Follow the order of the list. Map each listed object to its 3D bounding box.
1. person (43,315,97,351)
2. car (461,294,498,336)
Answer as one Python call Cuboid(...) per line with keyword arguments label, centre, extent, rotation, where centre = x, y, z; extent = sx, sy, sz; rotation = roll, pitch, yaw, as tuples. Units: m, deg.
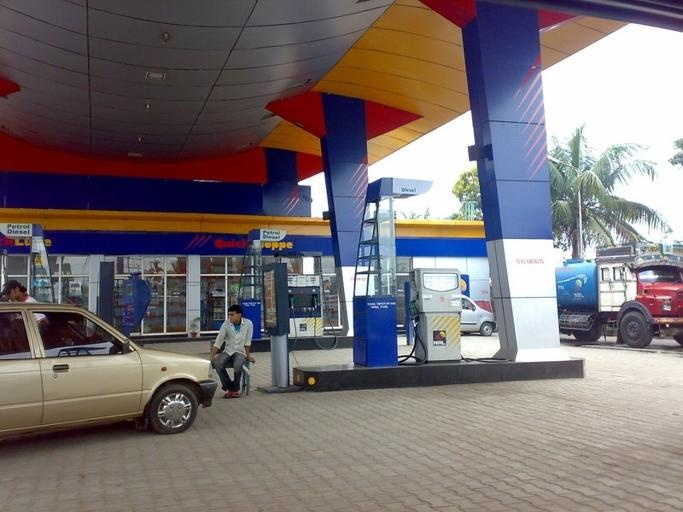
Cuboid(label="person", centre=(-4.009, 1.001, 7.574), extent=(0.852, 0.471, 0.489), rotation=(0, 33, -33))
Cuboid(label="car", centre=(6.478, 2.869, 24.716), extent=(1.853, 1.826, 1.001), rotation=(-1, -3, -4))
